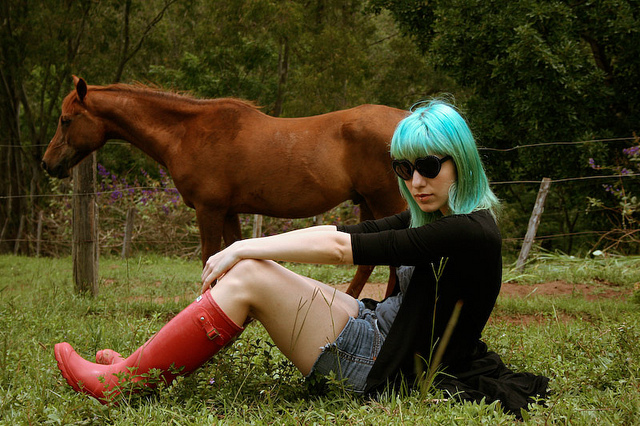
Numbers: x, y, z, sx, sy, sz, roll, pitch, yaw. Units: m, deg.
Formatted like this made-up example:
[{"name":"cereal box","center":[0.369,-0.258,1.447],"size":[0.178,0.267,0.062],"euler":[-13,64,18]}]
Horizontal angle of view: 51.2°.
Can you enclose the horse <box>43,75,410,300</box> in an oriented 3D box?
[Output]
[{"name":"horse","center":[-0.937,-0.321,9.721],"size":[5.810,3.166,1.318],"euler":[-2,14,-3]}]

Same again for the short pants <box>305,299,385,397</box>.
[{"name":"short pants","center":[0.331,1.459,6.980],"size":[0.345,0.904,0.678],"euler":[29,8,-12]}]
